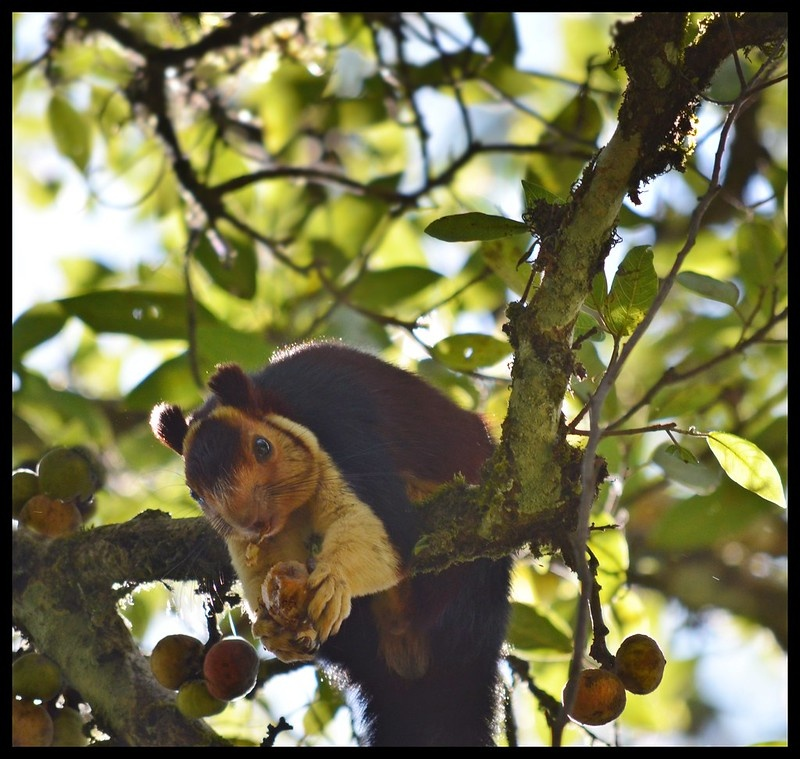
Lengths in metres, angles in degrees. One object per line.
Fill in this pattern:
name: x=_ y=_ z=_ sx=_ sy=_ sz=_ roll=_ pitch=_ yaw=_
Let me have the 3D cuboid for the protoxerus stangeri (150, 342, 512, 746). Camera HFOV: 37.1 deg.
protoxerus stangeri: x=-0.197 y=0.590 z=4.841 sx=1.502 sy=1.414 sz=0.768 roll=21 pitch=-51 yaw=-11

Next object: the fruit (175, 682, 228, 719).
fruit: x=-0.726 y=1.179 z=4.333 sx=0.135 sy=0.072 sz=0.136 roll=-20 pitch=-35 yaw=41

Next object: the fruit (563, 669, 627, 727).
fruit: x=0.687 y=1.126 z=4.172 sx=0.189 sy=0.168 sz=0.218 roll=3 pitch=-52 yaw=3

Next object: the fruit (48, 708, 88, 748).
fruit: x=-1.239 y=1.313 z=4.450 sx=0.072 sy=0.146 sz=0.101 roll=-17 pitch=-17 yaw=35

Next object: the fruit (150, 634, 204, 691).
fruit: x=-0.840 y=1.066 z=4.465 sx=0.173 sy=0.174 sz=0.230 roll=-15 pitch=-90 yaw=18

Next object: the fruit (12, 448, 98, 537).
fruit: x=-1.376 y=0.443 z=4.752 sx=0.339 sy=0.301 sz=0.328 roll=24 pitch=-53 yaw=-13
